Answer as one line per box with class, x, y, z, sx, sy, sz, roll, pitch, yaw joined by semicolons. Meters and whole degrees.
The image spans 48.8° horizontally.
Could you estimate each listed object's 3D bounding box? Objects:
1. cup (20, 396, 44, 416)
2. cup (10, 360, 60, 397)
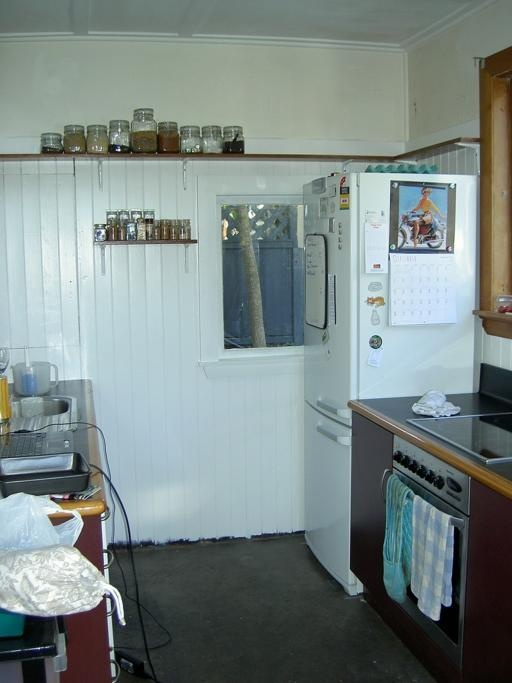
cup;-0.948;0.267;2.399;0.090;0.097;0.067;-1;7;-14
cup;-1.056;0.174;2.695;0.196;0.153;0.150;-3;5;-42
